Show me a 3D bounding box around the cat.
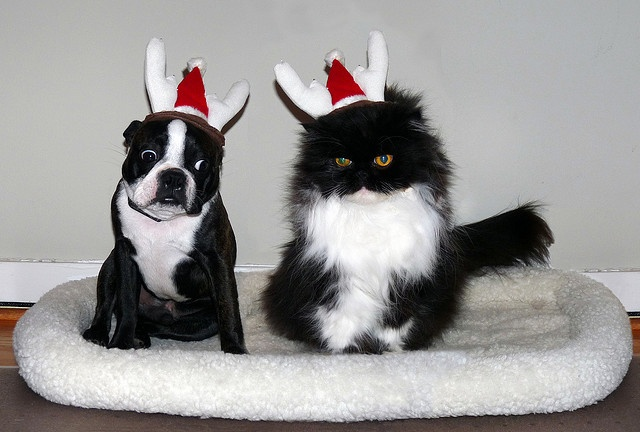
[{"bbox_3d":[0.373,-0.130,3.211,0.772,1.203,1.434,15,33,24],"label":"cat"}]

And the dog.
[{"bbox_3d":[-0.595,0.098,2.747,0.615,0.950,0.438,2,11,-19],"label":"dog"}]
